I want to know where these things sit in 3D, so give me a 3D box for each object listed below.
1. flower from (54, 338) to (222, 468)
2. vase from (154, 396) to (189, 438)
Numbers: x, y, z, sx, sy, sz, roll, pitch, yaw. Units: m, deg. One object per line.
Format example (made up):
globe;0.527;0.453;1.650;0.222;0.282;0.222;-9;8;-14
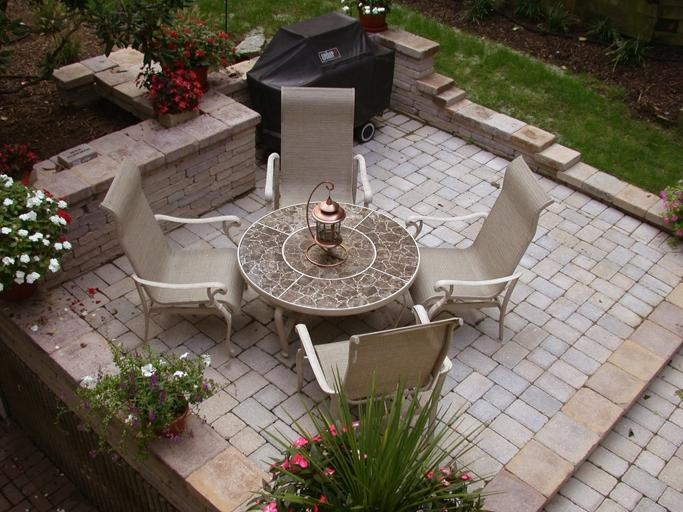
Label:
flower;-1.240;1.025;4.133;0.488;0.620;0.692;27;67;-7
vase;-1.195;1.226;4.103;0.292;0.209;0.282;0;43;-1
